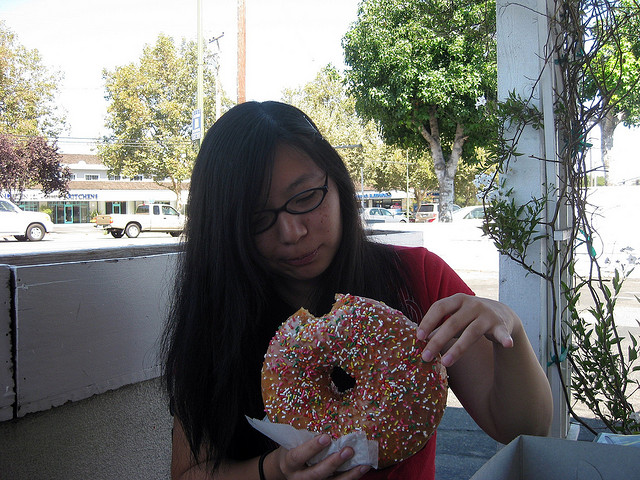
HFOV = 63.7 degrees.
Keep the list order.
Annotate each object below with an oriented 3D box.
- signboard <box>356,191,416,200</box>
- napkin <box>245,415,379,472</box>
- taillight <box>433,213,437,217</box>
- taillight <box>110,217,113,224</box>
[{"bbox_3d":[6.910,-4.398,51.028,6.834,0.763,2.985,-7,8,-44],"label":"signboard"},{"bbox_3d":[-0.023,0.746,1.876,0.467,0.229,0.078,-2,5,4],"label":"napkin"},{"bbox_3d":[7.107,-1.521,32.259,0.187,0.215,0.206,-18,-5,5],"label":"taillight"},{"bbox_3d":[-8.695,-0.776,21.534,0.113,0.254,0.207,-4,6,-26],"label":"taillight"}]
